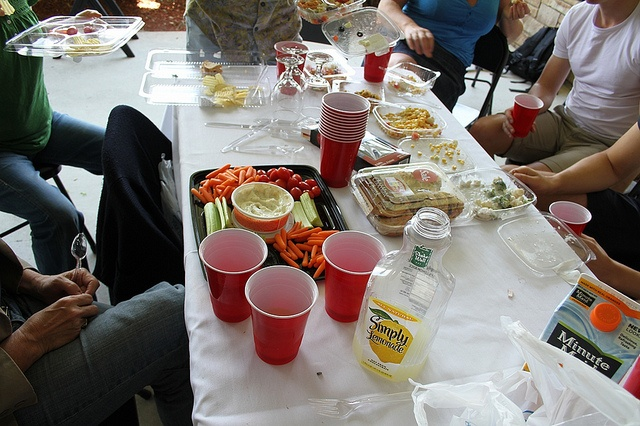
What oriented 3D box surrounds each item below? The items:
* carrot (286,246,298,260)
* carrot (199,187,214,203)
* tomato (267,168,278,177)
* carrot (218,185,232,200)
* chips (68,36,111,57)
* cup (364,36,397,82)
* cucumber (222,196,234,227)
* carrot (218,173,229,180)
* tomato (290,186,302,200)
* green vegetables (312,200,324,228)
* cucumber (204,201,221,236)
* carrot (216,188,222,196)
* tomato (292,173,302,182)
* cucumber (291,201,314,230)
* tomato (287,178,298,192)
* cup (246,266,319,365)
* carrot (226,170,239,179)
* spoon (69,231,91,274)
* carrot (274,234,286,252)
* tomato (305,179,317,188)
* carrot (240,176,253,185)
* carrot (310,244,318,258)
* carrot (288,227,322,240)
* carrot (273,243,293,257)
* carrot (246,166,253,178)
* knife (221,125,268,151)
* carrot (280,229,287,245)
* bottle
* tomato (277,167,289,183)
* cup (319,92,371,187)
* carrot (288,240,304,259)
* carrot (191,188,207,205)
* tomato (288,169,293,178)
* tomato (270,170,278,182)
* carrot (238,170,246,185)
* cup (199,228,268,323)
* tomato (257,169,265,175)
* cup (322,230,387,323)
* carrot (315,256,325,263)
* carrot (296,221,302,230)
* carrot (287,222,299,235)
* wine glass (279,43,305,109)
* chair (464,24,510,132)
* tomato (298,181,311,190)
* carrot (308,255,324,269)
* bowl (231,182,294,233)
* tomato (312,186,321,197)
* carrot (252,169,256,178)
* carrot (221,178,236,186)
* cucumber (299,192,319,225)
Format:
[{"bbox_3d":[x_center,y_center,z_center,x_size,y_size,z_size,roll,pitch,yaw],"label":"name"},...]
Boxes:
[{"bbox_3d":[-0.099,0.143,1.439,0.018,0.018,0.067,-22,40,-15],"label":"carrot"},{"bbox_3d":[-0.434,-0.069,1.566,0.031,0.111,0.027,2,69,20],"label":"carrot"},{"bbox_3d":[-0.194,-0.166,1.664,0.036,0.034,0.037,22,86,-11],"label":"tomato"},{"bbox_3d":[-0.365,-0.079,1.567,0.016,0.030,0.060,-8,45,45],"label":"carrot"},{"bbox_3d":[-1.191,-0.861,2.125,0.185,0.063,0.145,-1,58,-22],"label":"chips"},{"bbox_3d":[0.333,-0.892,2.350,0.128,0.204,0.146,24,42,22],"label":"cup"},{"bbox_3d":[-0.350,-0.006,1.541,0.035,0.048,0.124,-15,61,2],"label":"cucumber"},{"bbox_3d":[-0.384,-0.145,1.628,0.028,0.025,0.023,4,31,14],"label":"carrot"},{"bbox_3d":[-0.096,-0.079,1.623,0.046,0.057,0.047,-6,40,-6],"label":"tomato"},{"bbox_3d":[-0.002,0.001,1.554,0.032,0.017,0.120,-8,39,-1],"label":"green vegetables"},{"bbox_3d":[-0.394,0.020,1.493,0.045,0.046,0.152,8,49,-27],"label":"cucumber"},{"bbox_3d":[-0.391,-0.081,1.574,0.021,0.024,0.022,-17,47,-32],"label":"carrot"},{"bbox_3d":[-0.094,-0.145,1.660,0.030,0.037,0.031,1,30,3],"label":"tomato"},{"bbox_3d":[-0.073,0.010,1.555,0.042,0.025,0.145,1,40,-14],"label":"cucumber"},{"bbox_3d":[-0.114,-0.119,1.645,0.043,0.053,0.043,-6,33,-17],"label":"tomato"},{"bbox_3d":[-0.110,0.302,1.208,0.198,0.224,0.202,2,45,-2],"label":"cup"},{"bbox_3d":[-0.353,-0.159,1.645,0.036,0.010,0.035,4,38,-21],"label":"carrot"},{"bbox_3d":[-1.168,0.193,1.974,0.072,0.251,0.058,8,3,-11],"label":"spoon"},{"bbox_3d":[-0.141,0.107,1.472,0.036,0.015,0.059,-35,61,6],"label":"carrot"},{"bbox_3d":[-0.036,-0.122,1.663,0.032,0.025,0.043,18,3,26],"label":"tomato"},{"bbox_3d":[-0.291,-0.128,1.606,0.051,0.014,0.013,-40,48,-23],"label":"carrot"},{"bbox_3d":[-0.020,0.136,1.447,0.013,0.014,0.047,44,52,-15],"label":"carrot"},{"bbox_3d":[-0.060,0.078,1.489,0.135,0.037,0.041,-17,61,-28],"label":"carrot"},{"bbox_3d":[-0.131,0.133,1.447,0.061,0.016,0.014,34,91,22],"label":"carrot"},{"bbox_3d":[-0.287,-0.166,1.654,0.020,0.015,0.044,11,41,7],"label":"carrot"},{"bbox_3d":[-0.341,-0.335,1.860,0.080,0.013,0.248,40,48,15],"label":"knife"},{"bbox_3d":[-0.134,0.088,1.475,0.024,0.011,0.046,0,66,-32],"label":"carrot"},{"bbox_3d":[0.249,0.262,1.195,0.243,0.584,0.205,27,33,16],"label":"bottle"},{"bbox_3d":[-0.150,-0.159,1.650,0.040,0.054,0.030,-13,54,6],"label":"tomato"},{"bbox_3d":[0.081,-0.291,1.629,0.175,0.373,0.179,3,29,-1],"label":"cup"},{"bbox_3d":[-0.087,0.129,1.451,0.026,0.023,0.085,-19,55,-25],"label":"carrot"},{"bbox_3d":[-0.466,-0.063,1.571,0.078,0.017,0.022,43,96,13],"label":"carrot"},{"bbox_3d":[-0.118,-0.165,1.664,0.025,0.025,0.025,-20,45,-18],"label":"tomato"},{"bbox_3d":[-0.189,-0.151,1.657,0.030,0.022,0.041,11,83,-3],"label":"tomato"},{"bbox_3d":[-0.312,-0.146,1.634,0.019,0.018,0.065,-10,39,16],"label":"carrot"},{"bbox_3d":[-0.276,0.169,1.266,0.186,0.323,0.228,1,31,-7],"label":"cup"},{"bbox_3d":[-0.246,-0.167,1.652,0.023,0.014,0.024,1,35,6],"label":"tomato"},{"bbox_3d":[0.089,0.217,1.350,0.184,0.294,0.174,2,28,-1],"label":"cup"},{"bbox_3d":[0.000,0.162,1.423,0.023,0.009,0.023,26,57,-29],"label":"carrot"},{"bbox_3d":[-0.078,0.048,1.513,0.013,0.040,0.009,-12,29,21],"label":"carrot"},{"bbox_3d":[-0.095,0.056,1.503,0.016,0.020,0.069,6,46,44],"label":"carrot"},{"bbox_3d":[-0.137,-0.710,2.192,0.122,0.363,0.161,-3,30,-1],"label":"wine glass"},{"bbox_3d":[1.260,-1.059,3.364,0.372,0.868,0.413,7,34,13],"label":"chair"},{"bbox_3d":[-0.062,-0.110,1.647,0.037,0.029,0.029,3,1,-1],"label":"tomato"},{"bbox_3d":[-0.012,0.170,1.423,0.043,0.044,0.012,33,4,-14],"label":"carrot"},{"bbox_3d":[-0.220,-0.025,1.501,0.197,0.096,0.199,11,46,-12],"label":"bowl"},{"bbox_3d":[-0.016,-0.086,1.642,0.035,0.043,0.037,-22,44,-23],"label":"tomato"},{"bbox_3d":[-0.266,-0.162,1.662,0.010,0.010,0.034,9,38,14],"label":"carrot"},{"bbox_3d":[-0.359,-0.122,1.600,0.030,0.008,0.028,17,53,33],"label":"carrot"},{"bbox_3d":[-0.042,-0.018,1.567,0.046,0.039,0.141,5,42,-20],"label":"cucumber"}]
